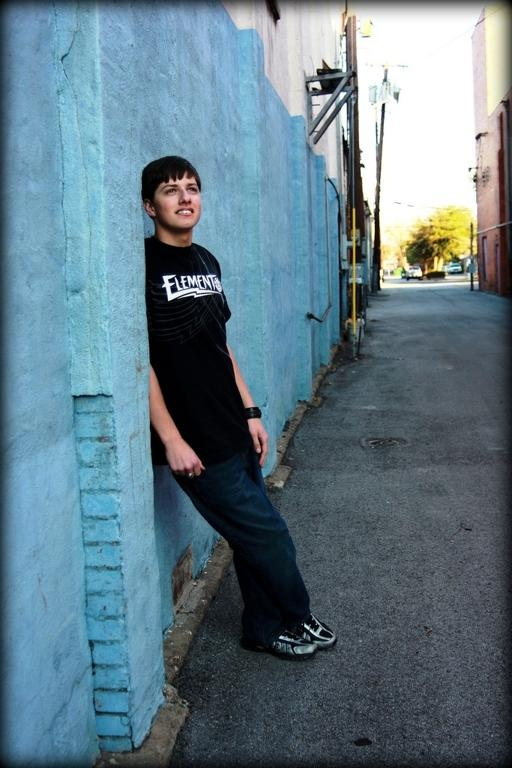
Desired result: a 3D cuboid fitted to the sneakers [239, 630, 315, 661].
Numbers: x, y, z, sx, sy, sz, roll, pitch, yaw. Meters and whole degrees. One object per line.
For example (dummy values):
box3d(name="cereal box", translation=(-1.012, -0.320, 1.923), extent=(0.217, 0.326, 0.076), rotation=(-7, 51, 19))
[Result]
box3d(name="sneakers", translation=(0.089, 1.109, 2.852), extent=(0.300, 0.168, 0.119), rotation=(-3, 0, 18))

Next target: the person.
box3d(name="person", translation=(-0.135, 0.187, 2.512), extent=(0.358, 2.041, 0.760), rotation=(7, 11, 44))

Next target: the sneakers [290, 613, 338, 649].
box3d(name="sneakers", translation=(0.269, 1.089, 2.825), extent=(0.243, 0.129, 0.093), rotation=(3, 22, 40))

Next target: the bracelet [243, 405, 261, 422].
box3d(name="bracelet", translation=(-0.014, 0.123, 2.708), extent=(0.051, 0.047, 0.052), rotation=(1, 7, 30))

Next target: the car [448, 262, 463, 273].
box3d(name="car", translation=(23.607, -13.731, 76.415), extent=(1.025, 1.071, 1.960), rotation=(0, 12, 18))

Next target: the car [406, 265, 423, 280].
box3d(name="car", translation=(17.294, -12.129, 70.300), extent=(1.085, 1.051, 2.694), rotation=(0, 13, 12))
